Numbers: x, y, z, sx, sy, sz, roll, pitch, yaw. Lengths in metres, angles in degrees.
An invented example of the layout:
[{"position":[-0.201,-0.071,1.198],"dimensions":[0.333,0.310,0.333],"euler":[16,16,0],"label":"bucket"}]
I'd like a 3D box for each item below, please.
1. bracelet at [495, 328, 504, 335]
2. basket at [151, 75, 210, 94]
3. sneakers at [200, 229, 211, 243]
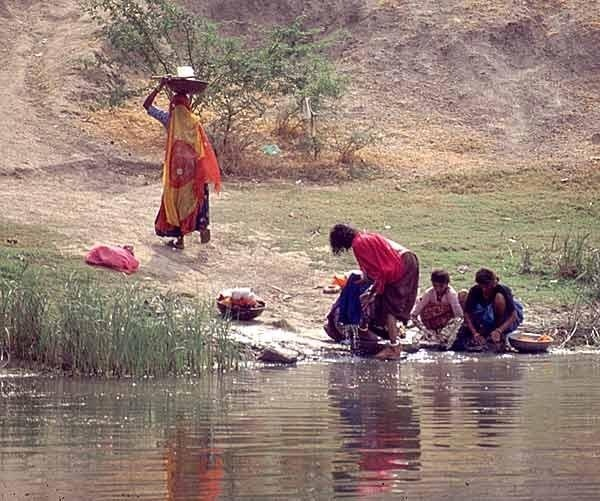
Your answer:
[{"position":[4.198,1.696,33.231],"dimensions":[0.131,0.047,0.133],"euler":[6,11,38],"label":"bracelet"},{"position":[-2.565,-3.737,35.136],"dimensions":[0.858,0.240,0.533],"euler":[3,2,20],"label":"basket"},{"position":[-2.220,-0.360,36.628],"dimensions":[0.294,0.380,0.212],"euler":[-5,9,-39],"label":"sneakers"}]
